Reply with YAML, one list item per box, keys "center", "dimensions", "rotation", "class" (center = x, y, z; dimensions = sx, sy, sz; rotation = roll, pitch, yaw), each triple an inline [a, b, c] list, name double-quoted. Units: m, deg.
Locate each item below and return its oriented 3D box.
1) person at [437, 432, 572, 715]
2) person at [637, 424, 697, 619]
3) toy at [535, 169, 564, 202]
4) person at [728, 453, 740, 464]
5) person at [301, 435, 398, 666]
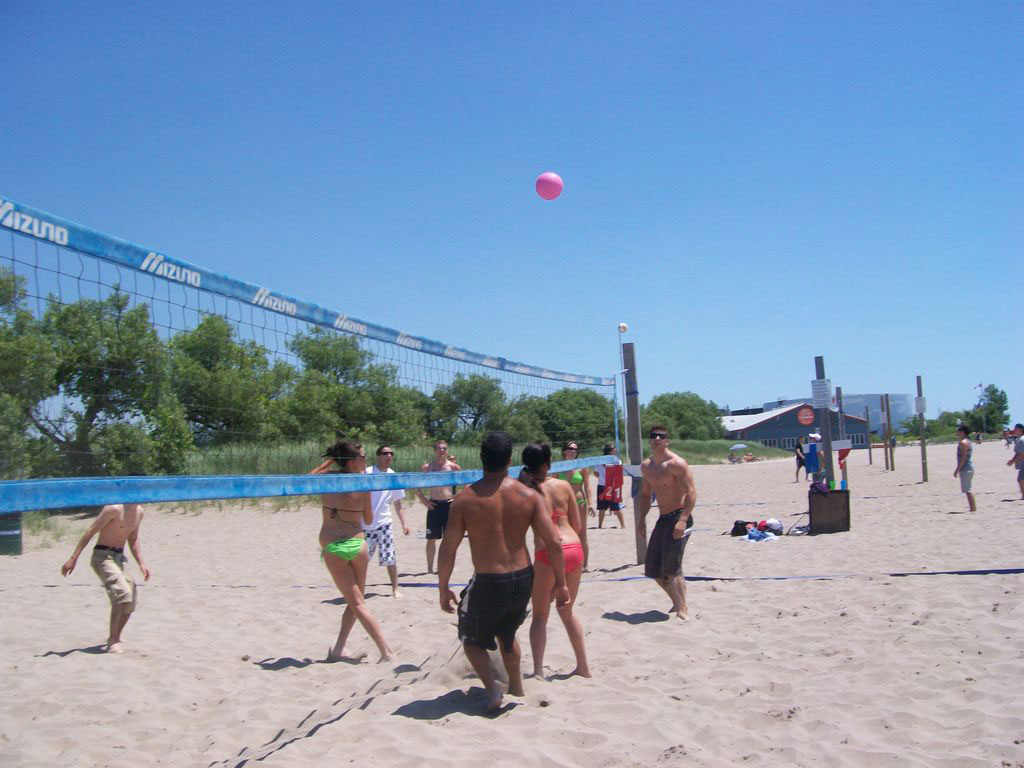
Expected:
- center: [-0.119, 1.364, 6.771]
  dimensions: [0.849, 1.891, 0.814]
  rotation: [-3, 4, -28]
  class: "person"
- center: [1.434, 1.227, 8.714]
  dimensions: [0.463, 1.668, 0.898]
  rotation: [-2, 3, 8]
  class: "person"
- center: [0.419, -2.187, 10.450]
  dimensions: [0.249, 0.298, 0.649]
  rotation: [-3, 3, 0]
  class: "toy"
- center: [9.954, 3.377, 42.563]
  dimensions: [0.382, 0.458, 0.723]
  rotation: [-3, -14, 15]
  class: "person"
- center: [-1.306, 1.360, 7.788]
  dimensions: [0.549, 1.772, 1.119]
  rotation: [-3, 3, -11]
  class: "person"
